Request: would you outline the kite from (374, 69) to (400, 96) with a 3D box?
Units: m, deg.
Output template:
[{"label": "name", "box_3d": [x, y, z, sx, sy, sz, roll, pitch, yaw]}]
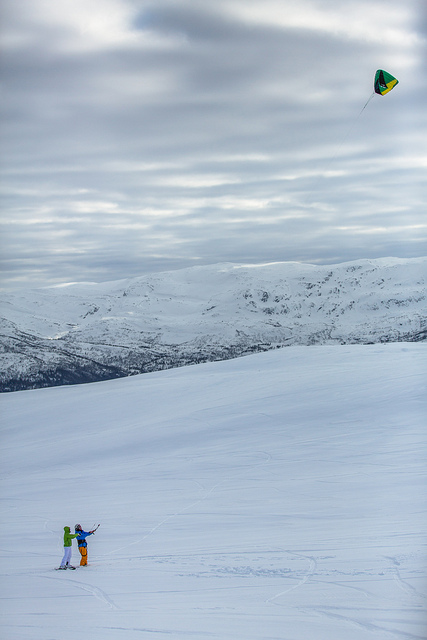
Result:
[{"label": "kite", "box_3d": [4.560, -6.341, 25.289, 0.561, 0.671, 0.860, -6, 10, 10]}]
